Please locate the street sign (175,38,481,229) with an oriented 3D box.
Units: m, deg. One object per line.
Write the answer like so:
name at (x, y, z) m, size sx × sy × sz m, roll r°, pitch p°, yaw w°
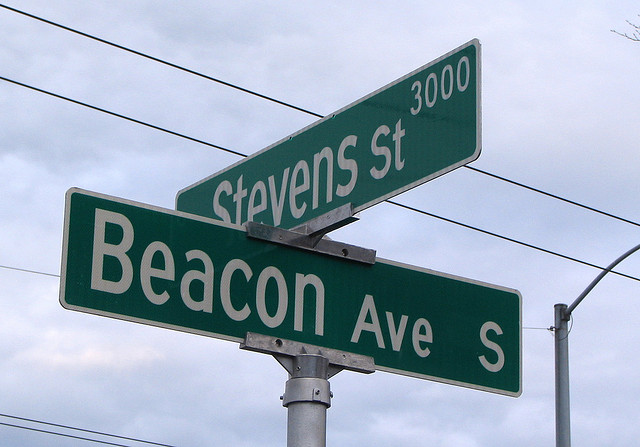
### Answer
street sign at (0.036, -0.304, 7.211) m, size 2.101 × 0.681 × 0.027 m, roll -22°, pitch -32°, yaw 37°
